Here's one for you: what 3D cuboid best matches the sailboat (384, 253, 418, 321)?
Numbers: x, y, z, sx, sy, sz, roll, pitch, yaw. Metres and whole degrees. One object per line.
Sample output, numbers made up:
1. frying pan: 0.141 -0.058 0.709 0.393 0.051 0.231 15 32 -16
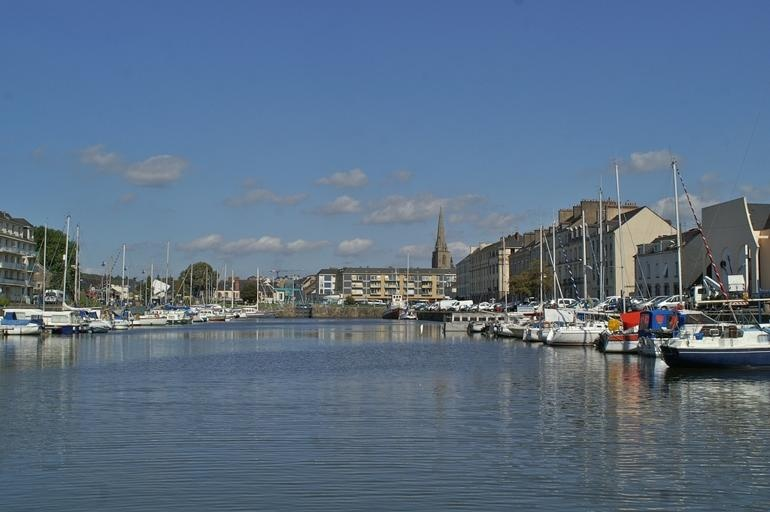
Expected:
1. sailboat: 4.660 10.412 278.999 8.526 11.972 28.960 1 -8 -4
